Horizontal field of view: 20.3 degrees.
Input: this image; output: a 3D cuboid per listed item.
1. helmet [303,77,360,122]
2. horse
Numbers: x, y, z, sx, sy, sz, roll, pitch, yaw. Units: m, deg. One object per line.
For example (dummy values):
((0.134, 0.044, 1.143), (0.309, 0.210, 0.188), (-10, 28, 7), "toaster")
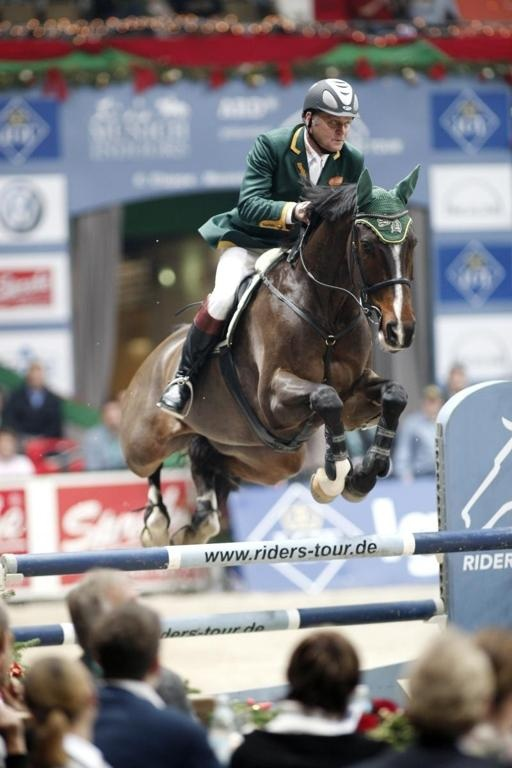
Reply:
((0.285, -1.057, 5.320), (0.143, 0.091, 0.190), (-3, 7, -31), "helmet")
((0.043, -0.027, 5.903), (0.765, 1.234, 2.073), (4, -11, -31), "horse")
